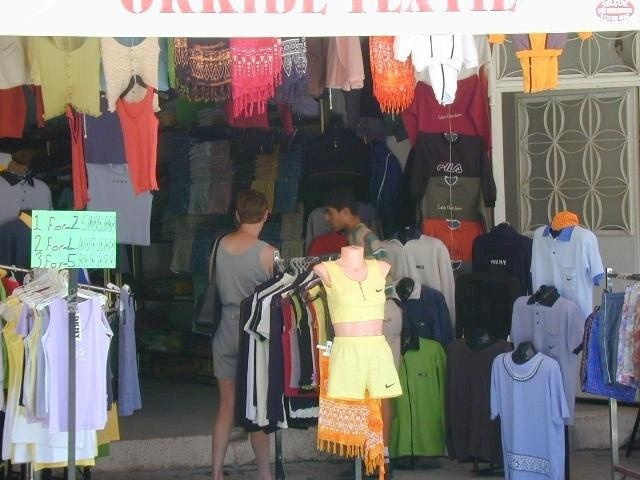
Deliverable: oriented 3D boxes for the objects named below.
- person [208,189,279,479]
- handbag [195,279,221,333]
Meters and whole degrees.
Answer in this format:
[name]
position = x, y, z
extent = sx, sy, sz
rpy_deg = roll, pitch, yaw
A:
[person]
position = -0.576, 0.745, 9.750
extent = 0.497, 2.253, 0.403
rpy_deg = -1, 1, -6
[handbag]
position = -0.845, 0.517, 9.814
extent = 0.187, 0.474, 0.463
rpy_deg = 3, -3, 1
